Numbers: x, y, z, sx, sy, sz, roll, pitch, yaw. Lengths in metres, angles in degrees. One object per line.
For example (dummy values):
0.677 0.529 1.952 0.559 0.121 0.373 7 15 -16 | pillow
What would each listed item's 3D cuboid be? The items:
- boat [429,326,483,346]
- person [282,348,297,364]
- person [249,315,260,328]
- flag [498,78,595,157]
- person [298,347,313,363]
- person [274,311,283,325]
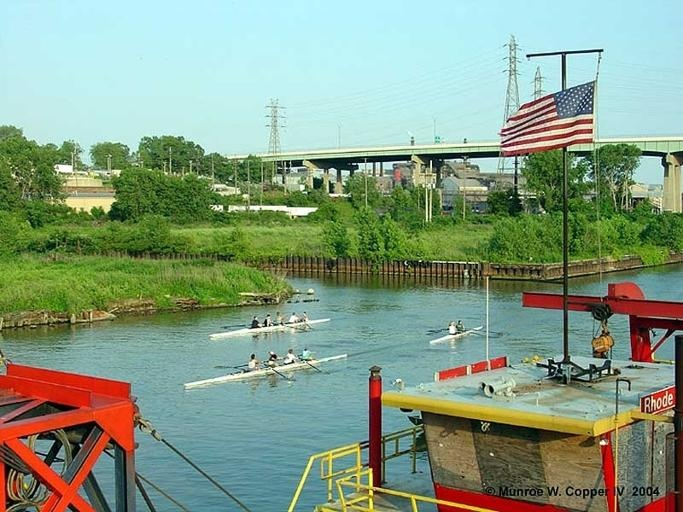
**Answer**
8.268 5.836 84.696 0.625 0.315 4.346 17 19 38 | boat
-3.458 6.705 77.488 0.777 1.066 0.607 8 15 28 | person
-6.540 5.096 89.187 0.782 1.207 0.931 -3 9 -17 | person
8.544 -5.751 48.041 4.014 2.756 0.942 1 6 40 | flag
-2.402 6.636 77.584 0.515 1.104 0.771 20 32 37 | person
-5.060 4.956 92.939 0.785 0.803 0.218 3 17 6 | person
